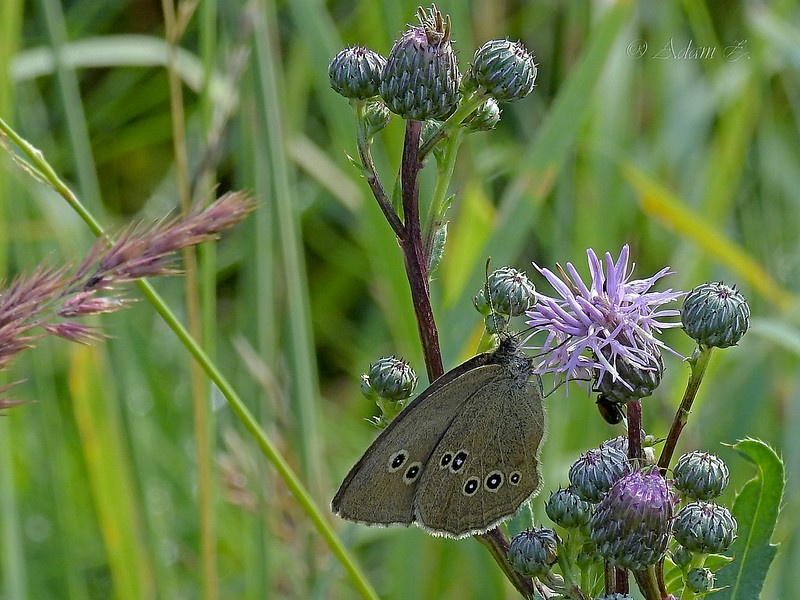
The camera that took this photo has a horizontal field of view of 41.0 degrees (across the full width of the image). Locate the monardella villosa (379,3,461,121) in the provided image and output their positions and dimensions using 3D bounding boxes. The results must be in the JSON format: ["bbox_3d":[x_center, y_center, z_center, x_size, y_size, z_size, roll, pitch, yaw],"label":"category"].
[{"bbox_3d":[0.064,-0.697,3.362,0.257,0.304,0.462,0,87,-2],"label":"monardella villosa"}]

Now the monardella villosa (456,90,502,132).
[{"bbox_3d":[0.254,-0.619,3.479,0.118,0.101,0.075,-15,47,-41],"label":"monardella villosa"}]

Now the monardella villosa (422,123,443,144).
[{"bbox_3d":[0.099,-0.555,3.484,0.064,0.026,0.086,6,78,57],"label":"monardella villosa"}]

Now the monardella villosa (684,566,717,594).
[{"bbox_3d":[0.901,0.854,3.238,0.055,0.088,0.080,-12,17,1],"label":"monardella villosa"}]

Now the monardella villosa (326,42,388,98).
[{"bbox_3d":[-0.133,-0.741,3.466,0.138,0.192,0.160,-8,13,-18],"label":"monardella villosa"}]

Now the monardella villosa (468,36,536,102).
[{"bbox_3d":[0.324,-0.766,3.435,0.150,0.200,0.236,3,90,8],"label":"monardella villosa"}]

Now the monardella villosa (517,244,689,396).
[{"bbox_3d":[0.614,0.070,3.340,0.285,0.360,0.668,0,102,2],"label":"monardella villosa"}]
